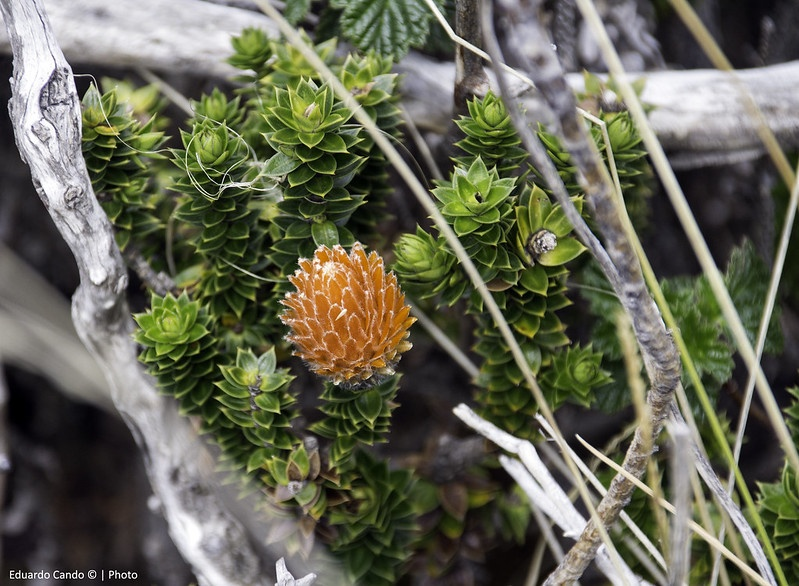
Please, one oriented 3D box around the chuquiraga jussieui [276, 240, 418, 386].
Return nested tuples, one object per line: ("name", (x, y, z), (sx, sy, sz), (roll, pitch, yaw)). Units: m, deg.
("chuquiraga jussieui", (-0.062, 0.023, 1.819), (0.240, 0.263, 0.283), (9, 39, 20))
